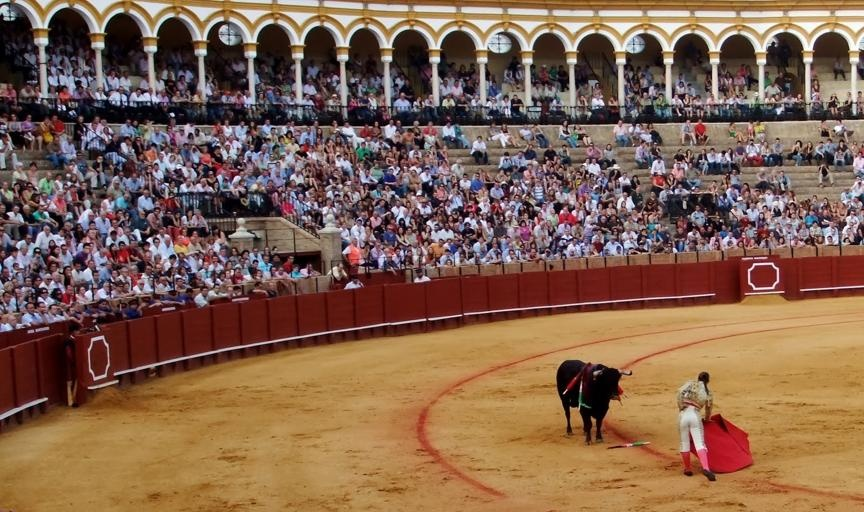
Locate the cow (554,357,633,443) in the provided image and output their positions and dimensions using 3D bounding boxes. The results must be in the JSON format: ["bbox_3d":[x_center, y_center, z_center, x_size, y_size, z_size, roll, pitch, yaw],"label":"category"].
[{"bbox_3d":[4.324,3.983,38.587,1.825,2.162,0.818,5,11,43],"label":"cow"}]

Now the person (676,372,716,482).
[{"bbox_3d":[6.949,4.470,37.176,0.897,2.642,1.254,-1,8,9],"label":"person"}]
